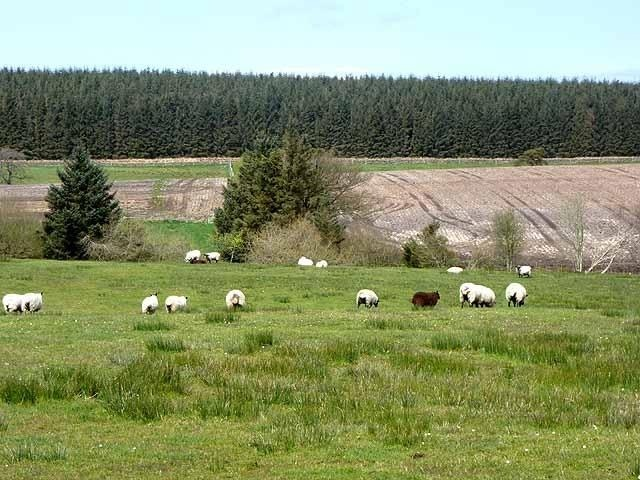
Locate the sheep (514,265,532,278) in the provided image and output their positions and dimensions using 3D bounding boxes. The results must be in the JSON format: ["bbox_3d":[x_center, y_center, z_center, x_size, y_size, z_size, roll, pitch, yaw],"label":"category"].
[{"bbox_3d":[31.813,5.263,211.356,1.404,2.289,2.863,5,9,36],"label":"sheep"}]
